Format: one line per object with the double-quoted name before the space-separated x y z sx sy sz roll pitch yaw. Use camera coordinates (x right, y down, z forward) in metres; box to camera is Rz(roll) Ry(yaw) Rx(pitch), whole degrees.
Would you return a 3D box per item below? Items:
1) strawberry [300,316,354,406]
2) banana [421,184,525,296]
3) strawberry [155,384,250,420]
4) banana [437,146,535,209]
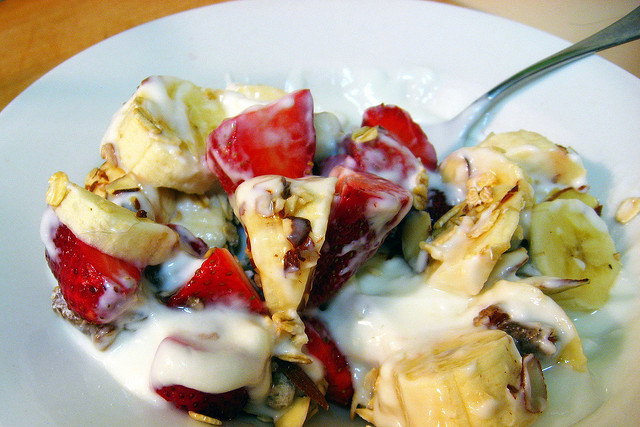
"strawberry" 0.029 0.413 2.069 0.073 0.163 0.217 -21 71 2
"banana" 0.458 0.100 2.101 0.084 0.239 0.319 33 87 26
"strawberry" -0.310 0.481 1.944 0.180 0.117 0.063 7 81 3
"banana" 0.493 -0.131 2.208 0.208 0.069 0.208 12 61 34
